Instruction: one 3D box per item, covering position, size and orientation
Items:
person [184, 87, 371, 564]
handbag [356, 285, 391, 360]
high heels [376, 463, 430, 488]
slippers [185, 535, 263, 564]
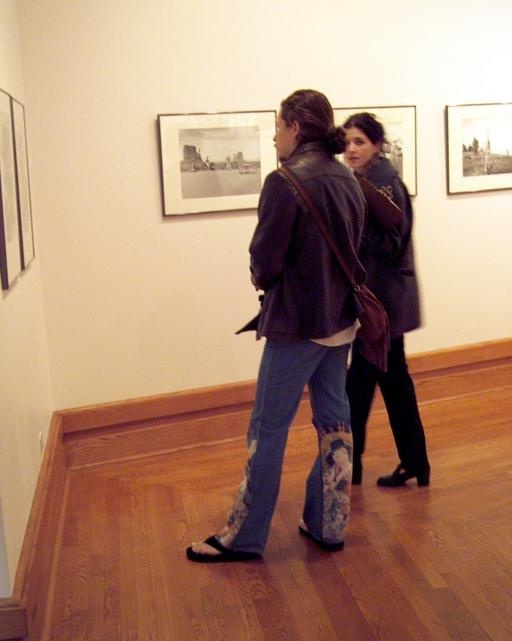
[{"bbox_3d":[0.127,0.075,1.724,0.555,1.630,0.433,-3,4,-19],"label":"person"},{"bbox_3d":[0.426,-0.002,1.824,0.082,0.301,0.097,11,48,35],"label":"handbag"},{"bbox_3d":[0.707,0.738,2.487,0.265,0.146,0.110,2,-2,-1],"label":"high heels"},{"bbox_3d":[-0.114,0.804,1.843,0.261,0.136,0.111,3,-6,-1],"label":"slippers"}]
